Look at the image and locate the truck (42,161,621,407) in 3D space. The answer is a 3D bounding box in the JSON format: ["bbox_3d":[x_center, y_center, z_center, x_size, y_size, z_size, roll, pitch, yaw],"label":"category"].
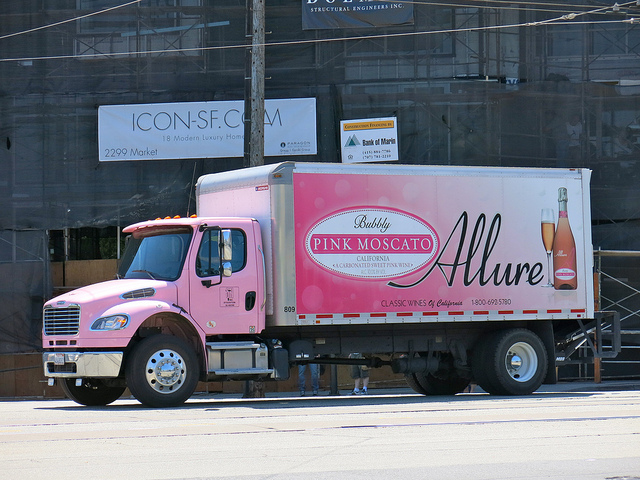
[{"bbox_3d":[0.463,0.737,35.555,11.320,4.785,4.969,0,4,-13],"label":"truck"}]
